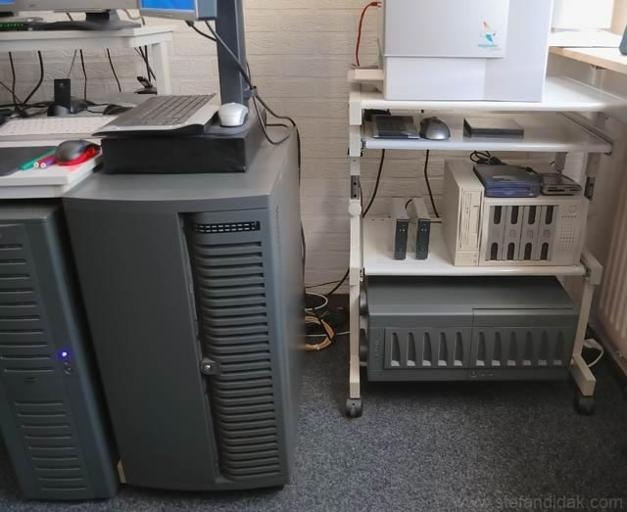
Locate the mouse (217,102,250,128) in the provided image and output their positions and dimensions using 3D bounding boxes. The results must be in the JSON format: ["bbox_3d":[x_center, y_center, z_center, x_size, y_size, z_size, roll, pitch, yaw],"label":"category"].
[{"bbox_3d":[-0.231,-0.394,1.441,0.073,0.050,0.080,0,29,-3],"label":"mouse"}]

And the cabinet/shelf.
[{"bbox_3d":[0.463,-0.178,1.874,0.871,1.002,1.174,1,38,1],"label":"cabinet/shelf"}]

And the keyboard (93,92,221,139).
[{"bbox_3d":[-0.419,-0.413,1.514,0.284,0.034,0.417,-1,28,0],"label":"keyboard"}]

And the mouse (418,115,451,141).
[{"bbox_3d":[0.366,-0.390,1.581,0.063,0.033,0.102,-1,27,0],"label":"mouse"}]
